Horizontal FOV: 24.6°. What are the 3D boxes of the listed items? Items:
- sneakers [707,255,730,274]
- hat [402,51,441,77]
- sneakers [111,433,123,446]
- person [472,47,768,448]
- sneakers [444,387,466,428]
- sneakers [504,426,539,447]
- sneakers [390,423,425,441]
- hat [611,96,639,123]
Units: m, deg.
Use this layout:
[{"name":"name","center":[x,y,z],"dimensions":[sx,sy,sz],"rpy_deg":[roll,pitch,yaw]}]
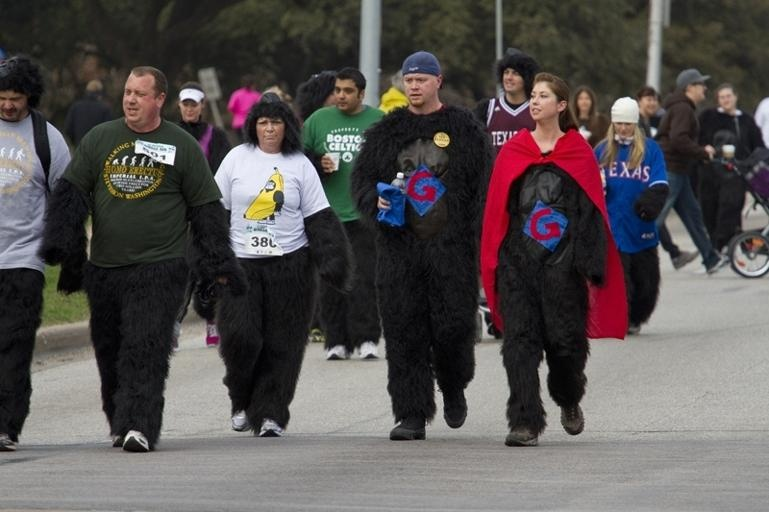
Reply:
[{"name":"sneakers","center":[4.329,0.095,23.161],"dimensions":[0.366,0.162,0.132],"rpy_deg":[-39,6,-39]},{"name":"hat","center":[0.328,-1.770,16.575],"dimensions":[0.277,0.183,0.268],"rpy_deg":[2,-1,-6]},{"name":"sneakers","center":[-2.412,1.646,16.025],"dimensions":[0.109,0.139,0.062],"rpy_deg":[8,26,10]},{"name":"person","center":[1.542,0.018,16.175],"dimensions":[1.178,3.250,0.915],"rpy_deg":[-3,13,-28]},{"name":"sneakers","center":[0.664,1.409,16.558],"dimensions":[0.160,0.429,0.192],"rpy_deg":[-4,-28,6]},{"name":"sneakers","center":[1.232,1.613,15.936],"dimensions":[0.260,0.106,0.145],"rpy_deg":[7,-11,-24]},{"name":"sneakers","center":[0.212,1.592,16.269],"dimensions":[0.265,0.188,0.150],"rpy_deg":[6,-8,-19]},{"name":"hat","center":[2.662,-1.600,19.606],"dimensions":[0.255,0.251,0.299],"rpy_deg":[3,8,2]}]
